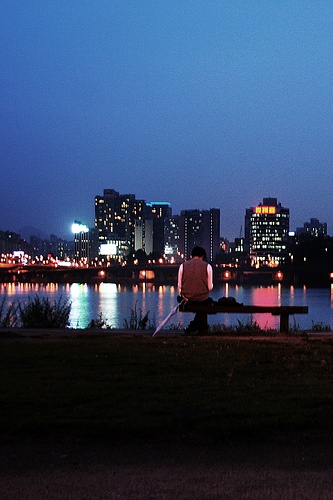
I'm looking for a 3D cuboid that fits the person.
[{"bbox_3d":[0.559,0.810,13.000,0.677,1.777,1.225,-1,-1,3],"label":"person"}]
